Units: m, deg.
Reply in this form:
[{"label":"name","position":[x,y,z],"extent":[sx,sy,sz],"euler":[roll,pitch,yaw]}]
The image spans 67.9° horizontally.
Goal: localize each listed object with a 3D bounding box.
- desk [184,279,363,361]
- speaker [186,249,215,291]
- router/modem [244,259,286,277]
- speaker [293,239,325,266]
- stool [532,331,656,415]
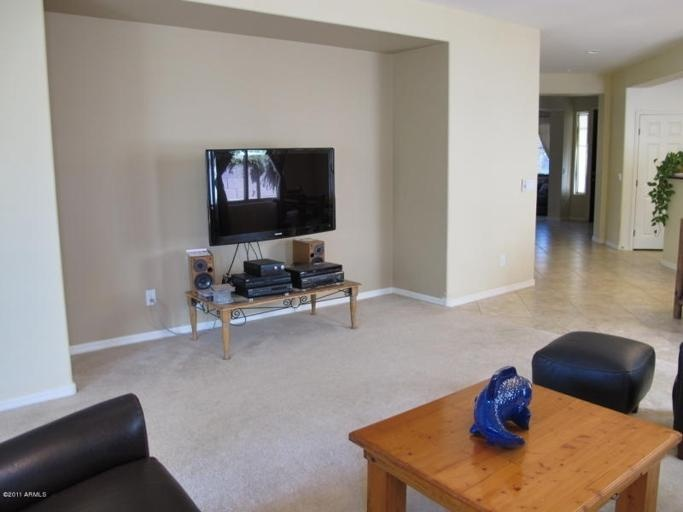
[{"label":"desk","position":[-0.640,0.463,4.755],"extent":[1.505,0.502,0.881],"euler":[-9,16,-32]},{"label":"speaker","position":[-1.204,0.129,4.416],"extent":[0.202,0.313,0.365],"euler":[-11,17,-39]},{"label":"router/modem","position":[-0.702,0.100,4.457],"extent":[0.340,0.114,0.237],"euler":[11,17,38]},{"label":"speaker","position":[-0.311,-0.038,5.051],"extent":[0.256,0.266,0.255],"euler":[1,2,32]},{"label":"stool","position":[1.526,0.666,3.100],"extent":[0.516,0.292,0.569],"euler":[6,16,35]}]
